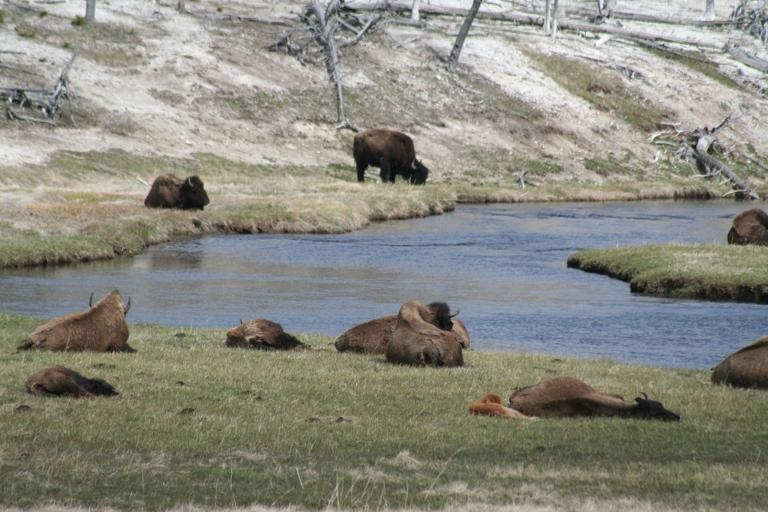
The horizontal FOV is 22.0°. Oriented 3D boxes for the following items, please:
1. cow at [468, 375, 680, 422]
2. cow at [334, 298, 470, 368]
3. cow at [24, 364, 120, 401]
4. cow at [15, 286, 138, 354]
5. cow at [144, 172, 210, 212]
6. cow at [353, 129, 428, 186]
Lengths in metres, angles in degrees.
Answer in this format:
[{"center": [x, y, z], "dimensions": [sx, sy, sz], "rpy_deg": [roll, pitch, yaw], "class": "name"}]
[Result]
[{"center": [12.471, 9.809, 133.629], "dimensions": [8.119, 1.945, 2.794], "rpy_deg": [-1, -1, 1], "class": "cow"}, {"center": [1.625, 5.307, 136.824], "dimensions": [7.945, 4.351, 1.552], "rpy_deg": [5, 6, 12], "class": "cow"}, {"center": [-21.111, 8.937, 134.029], "dimensions": [5.900, 3.100, 2.681], "rpy_deg": [4, -33, -17], "class": "cow"}, {"center": [-20.760, 4.849, 137.941], "dimensions": [9.872, 4.776, 3.357], "rpy_deg": [-13, 7, -17], "class": "cow"}, {"center": [-16.656, -5.045, 160.526], "dimensions": [5.912, 3.116, 2.200], "rpy_deg": [-2, 3, 9], "class": "cow"}, {"center": [0.209, -9.431, 182.724], "dimensions": [7.808, 5.634, 3.557], "rpy_deg": [2, 9, 6], "class": "cow"}]
